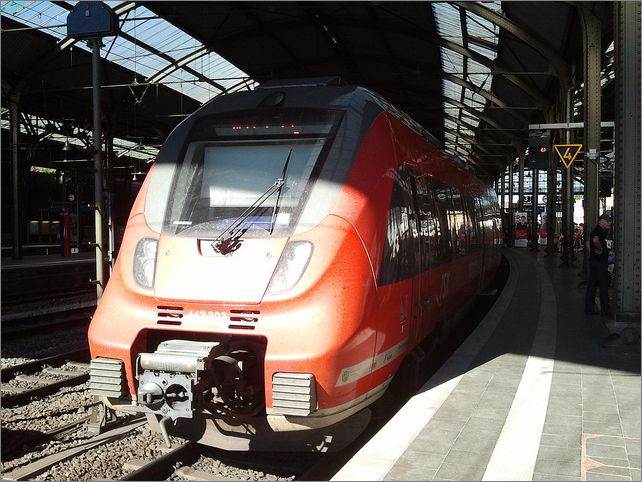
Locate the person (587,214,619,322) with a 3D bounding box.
[{"bbox_3d":[5.802,0.517,10.092,0.445,2.123,0.900,1,1,30],"label":"person"}]
